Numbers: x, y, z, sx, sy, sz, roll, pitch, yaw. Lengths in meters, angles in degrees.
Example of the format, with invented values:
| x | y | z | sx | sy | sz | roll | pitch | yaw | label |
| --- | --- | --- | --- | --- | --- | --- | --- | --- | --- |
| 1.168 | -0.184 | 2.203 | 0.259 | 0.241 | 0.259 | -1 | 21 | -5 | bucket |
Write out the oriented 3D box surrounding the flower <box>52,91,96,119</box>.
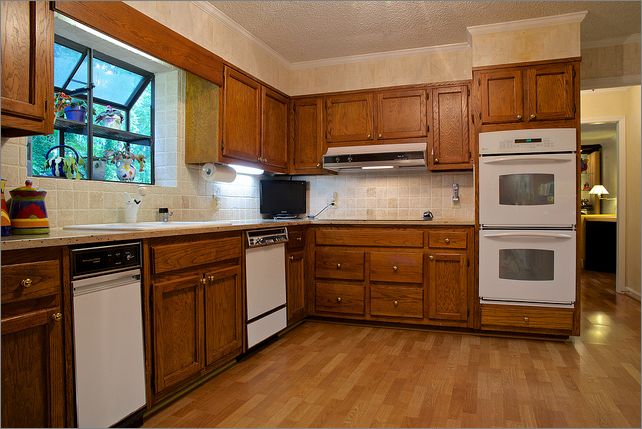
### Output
| x | y | z | sx | sy | sz | roll | pitch | yaw | label |
| --- | --- | --- | --- | --- | --- | --- | --- | --- | --- |
| -1.914 | -0.843 | 3.335 | 0.312 | 0.226 | 0.293 | 0 | 1 | -20 | flower |

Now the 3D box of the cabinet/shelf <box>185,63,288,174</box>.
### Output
| x | y | z | sx | sy | sz | roll | pitch | yaw | label |
| --- | --- | --- | --- | --- | --- | --- | --- | --- | --- |
| -0.813 | -0.922 | 4.514 | 0.471 | 0.882 | 1.489 | 2 | 3 | 20 | cabinet/shelf |

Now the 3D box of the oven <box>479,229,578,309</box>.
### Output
| x | y | z | sx | sy | sz | roll | pitch | yaw | label |
| --- | --- | --- | --- | --- | --- | --- | --- | --- | --- |
| 1.986 | 0.514 | 4.317 | 0.943 | 0.770 | 0.748 | 0 | -3 | 7 | oven |

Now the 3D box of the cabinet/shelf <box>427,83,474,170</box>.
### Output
| x | y | z | sx | sy | sz | roll | pitch | yaw | label |
| --- | --- | --- | --- | --- | --- | --- | --- | --- | --- |
| 1.544 | -0.986 | 4.669 | 0.686 | 0.931 | 0.682 | -4 | 10 | 1 | cabinet/shelf |

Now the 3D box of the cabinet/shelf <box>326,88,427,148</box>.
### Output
| x | y | z | sx | sy | sz | roll | pitch | yaw | label |
| --- | --- | --- | --- | --- | --- | --- | --- | --- | --- |
| 0.683 | -1.115 | 4.922 | 1.286 | 0.602 | 0.452 | 1 | 9 | 21 | cabinet/shelf |

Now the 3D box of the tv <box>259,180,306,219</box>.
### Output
| x | y | z | sx | sy | sz | roll | pitch | yaw | label |
| --- | --- | --- | --- | --- | --- | --- | --- | --- | --- |
| -0.482 | -0.185 | 4.950 | 0.478 | 0.327 | 0.138 | 0 | -2 | -30 | tv |

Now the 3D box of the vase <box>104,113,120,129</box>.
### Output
| x | y | z | sx | sy | sz | roll | pitch | yaw | label |
| --- | --- | --- | --- | --- | --- | --- | --- | --- | --- |
| -1.775 | -0.784 | 3.577 | 0.116 | 0.120 | 0.114 | 0 | 4 | -13 | vase |

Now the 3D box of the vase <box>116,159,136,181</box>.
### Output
| x | y | z | sx | sy | sz | roll | pitch | yaw | label |
| --- | --- | --- | --- | --- | --- | --- | --- | --- | --- |
| -1.694 | -0.381 | 3.636 | 0.105 | 0.138 | 0.237 | 14 | 0 | -22 | vase |

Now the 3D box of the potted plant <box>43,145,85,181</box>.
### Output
| x | y | z | sx | sy | sz | roll | pitch | yaw | label |
| --- | --- | --- | --- | --- | --- | --- | --- | --- | --- |
| -1.963 | -0.371 | 3.203 | 0.257 | 0.328 | 0.240 | 1 | 3 | -20 | potted plant |

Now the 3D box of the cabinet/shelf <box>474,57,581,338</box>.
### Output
| x | y | z | sx | sy | sz | roll | pitch | yaw | label |
| --- | --- | --- | --- | --- | --- | --- | --- | --- | --- |
| 1.987 | -0.152 | 4.273 | 1.044 | 2.600 | 0.679 | 2 | -8 | 11 | cabinet/shelf |

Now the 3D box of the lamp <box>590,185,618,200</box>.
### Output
| x | y | z | sx | sy | sz | roll | pitch | yaw | label |
| --- | --- | --- | --- | --- | --- | --- | --- | --- | --- |
| 5.618 | -0.440 | 8.502 | 0.242 | 0.203 | 0.391 | -7 | 4 | -31 | lamp |

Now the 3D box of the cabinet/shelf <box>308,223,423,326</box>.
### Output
| x | y | z | sx | sy | sz | roll | pitch | yaw | label |
| --- | --- | --- | --- | --- | --- | --- | --- | --- | --- |
| 0.532 | 0.605 | 4.650 | 1.268 | 1.011 | 0.618 | 0 | 4 | 7 | cabinet/shelf |

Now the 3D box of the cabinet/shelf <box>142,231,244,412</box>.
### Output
| x | y | z | sx | sy | sz | roll | pitch | yaw | label |
| --- | --- | --- | --- | --- | --- | --- | --- | --- | --- |
| -1.134 | 0.704 | 3.293 | 0.582 | 1.178 | 0.994 | 4 | 5 | 25 | cabinet/shelf |

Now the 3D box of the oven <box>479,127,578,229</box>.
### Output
| x | y | z | sx | sy | sz | roll | pitch | yaw | label |
| --- | --- | --- | --- | --- | --- | --- | --- | --- | --- |
| 1.983 | -0.333 | 4.434 | 1.074 | 1.231 | 0.845 | 0 | -2 | 25 | oven |

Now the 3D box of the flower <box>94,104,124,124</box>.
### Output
| x | y | z | sx | sy | sz | roll | pitch | yaw | label |
| --- | --- | --- | --- | --- | --- | --- | --- | --- | --- |
| -1.804 | -0.848 | 3.577 | 0.165 | 0.115 | 0.162 | -9 | 8 | -26 | flower |

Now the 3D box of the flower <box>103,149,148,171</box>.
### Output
| x | y | z | sx | sy | sz | roll | pitch | yaw | label |
| --- | --- | --- | --- | --- | --- | --- | --- | --- | --- |
| -1.711 | -0.454 | 3.678 | 0.190 | 0.096 | 0.201 | 1 | 0 | 43 | flower |

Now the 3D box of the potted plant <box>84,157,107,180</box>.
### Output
| x | y | z | sx | sy | sz | roll | pitch | yaw | label |
| --- | --- | --- | --- | --- | --- | --- | --- | --- | --- |
| -1.779 | -0.366 | 3.411 | 0.163 | 0.177 | 0.160 | 1 | 6 | -1 | potted plant |

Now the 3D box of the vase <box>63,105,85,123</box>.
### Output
| x | y | z | sx | sy | sz | roll | pitch | yaw | label |
| --- | --- | --- | --- | --- | --- | --- | --- | --- | --- |
| -1.929 | -0.781 | 3.306 | 0.119 | 0.091 | 0.121 | 2 | 5 | 31 | vase |

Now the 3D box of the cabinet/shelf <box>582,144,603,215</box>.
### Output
| x | y | z | sx | sy | sz | roll | pitch | yaw | label |
| --- | --- | --- | --- | --- | --- | --- | --- | --- | --- |
| 5.795 | -0.778 | 9.029 | 0.420 | 1.446 | 0.969 | 5 | 9 | 31 | cabinet/shelf |
